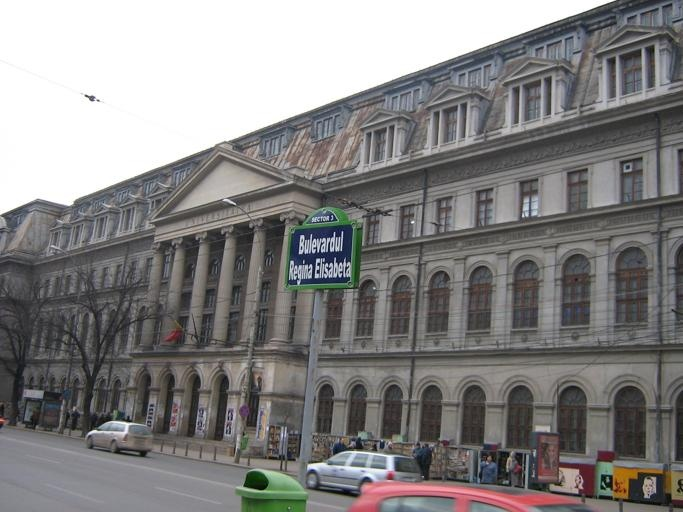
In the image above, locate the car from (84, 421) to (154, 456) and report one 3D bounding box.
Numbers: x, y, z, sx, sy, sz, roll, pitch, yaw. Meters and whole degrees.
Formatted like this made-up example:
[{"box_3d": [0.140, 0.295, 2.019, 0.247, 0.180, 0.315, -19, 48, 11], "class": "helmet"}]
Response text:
[{"box_3d": [-12.409, 10.186, 36.483, 4.142, 1.232, 1.863, -6, -15, 39], "class": "car"}]
